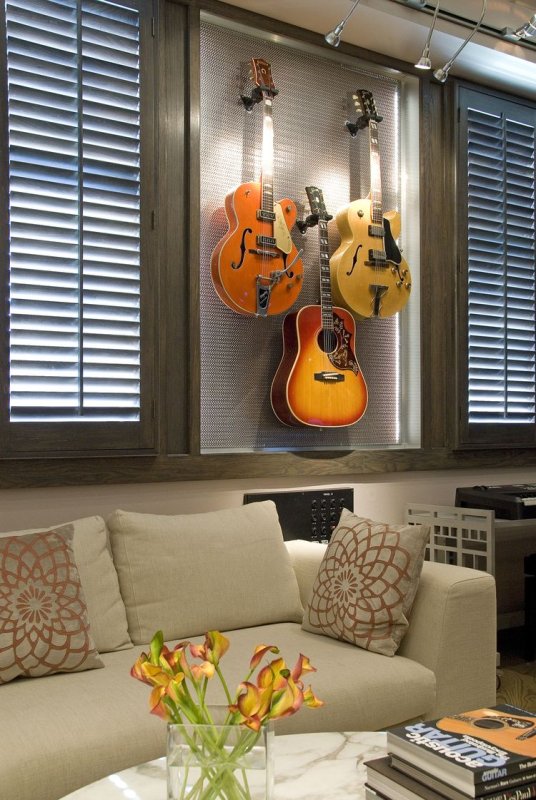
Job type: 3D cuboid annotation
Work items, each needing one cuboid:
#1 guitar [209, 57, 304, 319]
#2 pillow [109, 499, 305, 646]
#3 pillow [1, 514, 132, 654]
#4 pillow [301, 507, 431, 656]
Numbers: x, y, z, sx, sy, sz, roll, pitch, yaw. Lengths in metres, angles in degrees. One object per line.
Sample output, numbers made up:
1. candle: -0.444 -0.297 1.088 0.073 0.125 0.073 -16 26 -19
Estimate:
1. guitar: -0.085 -0.872 2.612 0.386 1.045 0.373 -6 9 -20
2. pillow: -0.182 0.542 2.056 0.584 0.407 0.210 0 -9 -29
3. pillow: -0.601 0.550 1.859 0.103 0.355 0.355 -16 -8 14
4. pillow: 0.275 0.551 1.949 0.198 0.360 0.360 1 -1 -36
